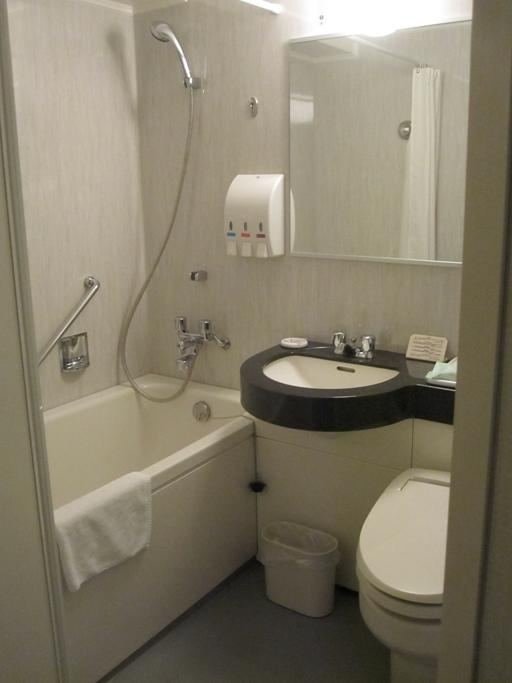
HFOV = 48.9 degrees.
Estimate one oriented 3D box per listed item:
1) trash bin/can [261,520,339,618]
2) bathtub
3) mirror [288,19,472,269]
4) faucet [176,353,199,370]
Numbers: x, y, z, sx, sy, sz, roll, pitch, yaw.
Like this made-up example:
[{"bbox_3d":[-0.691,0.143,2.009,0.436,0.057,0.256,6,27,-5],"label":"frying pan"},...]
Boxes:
[{"bbox_3d":[0.139,0.732,1.831,0.254,0.229,0.198,2,11,12],"label":"trash bin/can"},{"bbox_3d":[-0.388,0.335,1.853,0.465,0.636,0.991,4,10,26],"label":"bathtub"},{"bbox_3d":[0.388,-0.584,1.720,0.595,0.017,0.948,3,59,1],"label":"mirror"},{"bbox_3d":[-0.267,0.080,2.195,0.074,0.062,0.040,-3,10,-11],"label":"faucet"}]
